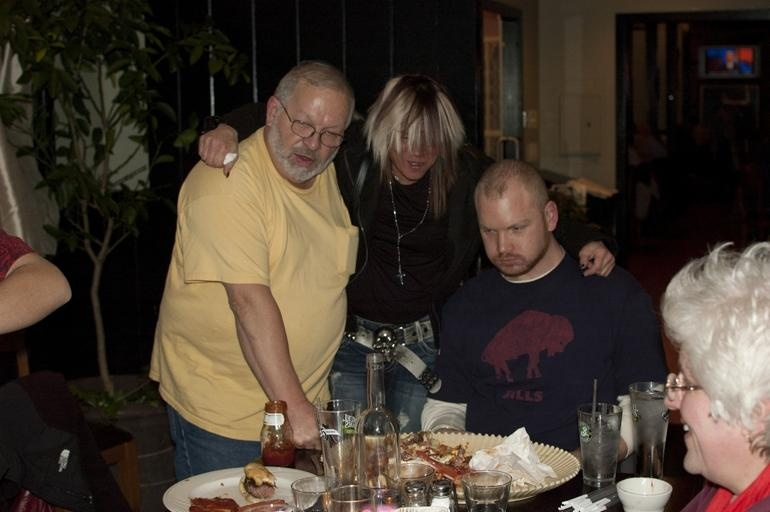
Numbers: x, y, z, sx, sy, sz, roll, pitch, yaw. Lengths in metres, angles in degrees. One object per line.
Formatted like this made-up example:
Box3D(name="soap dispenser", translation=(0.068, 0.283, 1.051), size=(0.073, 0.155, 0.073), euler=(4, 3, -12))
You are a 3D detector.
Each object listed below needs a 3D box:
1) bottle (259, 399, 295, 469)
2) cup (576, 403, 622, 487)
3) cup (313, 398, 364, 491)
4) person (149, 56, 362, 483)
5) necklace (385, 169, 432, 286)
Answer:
Box3D(name="bottle", translation=(-0.376, 0.620, 2.272), size=(0.132, 0.243, 0.119), euler=(-7, 9, -24))
Box3D(name="cup", translation=(0.736, 0.633, 2.197), size=(0.126, 0.244, 0.219), euler=(2, 9, 34))
Box3D(name="cup", translation=(-0.143, 0.583, 2.013), size=(0.204, 0.356, 0.201), euler=(0, -18, 0))
Box3D(name="person", translation=(-0.495, 0.072, 2.619), size=(0.954, 1.710, 0.754), euler=(-7, 8, -22))
Box3D(name="necklace", translation=(0.110, -0.163, 3.260), size=(0.158, 0.573, 0.013), euler=(0, 9, -1))
